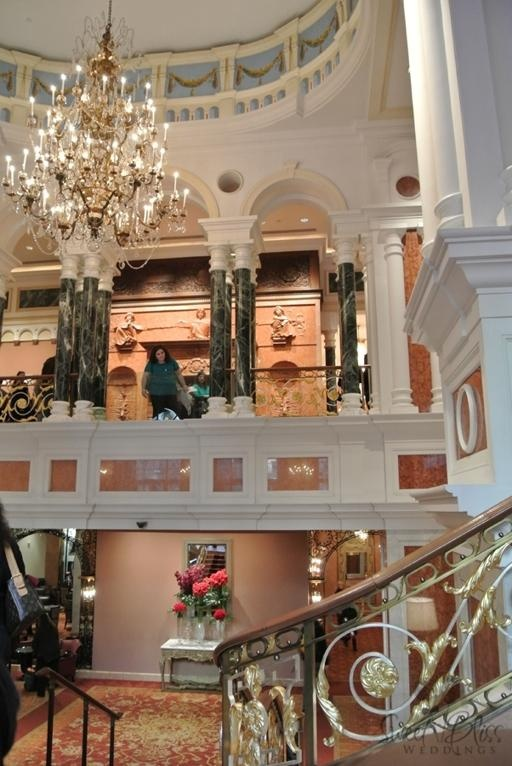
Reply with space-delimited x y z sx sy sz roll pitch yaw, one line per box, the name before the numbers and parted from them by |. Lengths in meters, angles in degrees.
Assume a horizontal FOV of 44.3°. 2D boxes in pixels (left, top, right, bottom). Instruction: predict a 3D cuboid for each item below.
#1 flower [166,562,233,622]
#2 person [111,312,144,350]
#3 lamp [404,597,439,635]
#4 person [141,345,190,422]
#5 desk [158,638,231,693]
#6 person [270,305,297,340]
flower | -0.875 3.454 10.378 0.869 0.660 0.864 1 0 -5
person | -2.622 -1.040 12.853 0.601 0.784 0.223 2 -8 -12
lamp | 1.141 1.574 4.334 0.180 0.252 0.627 -1 -8 14
person | -1.220 -0.014 8.483 0.630 0.984 0.299 1 -8 -6
desk | -1.043 4.422 9.911 0.895 0.711 0.464 1 -8 -2
person | 0.560 -1.186 12.511 0.538 0.714 0.401 -3 -30 6
